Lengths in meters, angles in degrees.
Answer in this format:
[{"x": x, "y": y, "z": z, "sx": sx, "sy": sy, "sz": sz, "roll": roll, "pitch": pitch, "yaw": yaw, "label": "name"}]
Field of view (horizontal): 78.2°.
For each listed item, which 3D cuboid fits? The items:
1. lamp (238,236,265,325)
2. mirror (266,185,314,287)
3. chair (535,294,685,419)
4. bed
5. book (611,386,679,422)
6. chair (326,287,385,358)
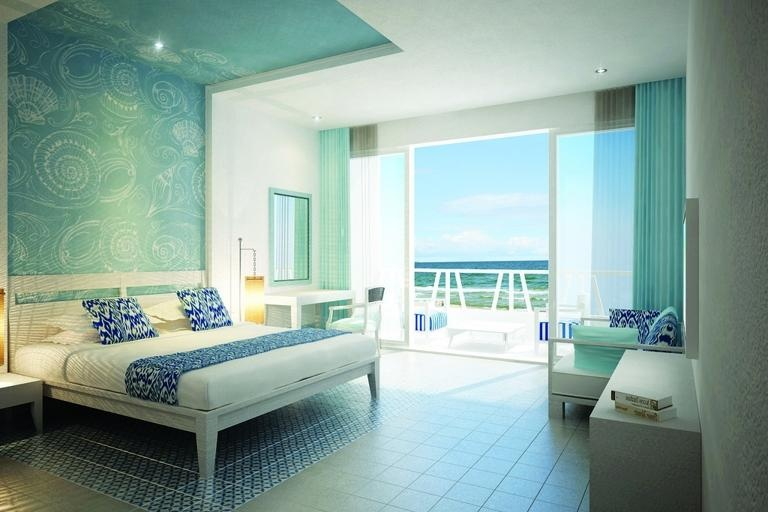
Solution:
[{"x": -1.795, "y": 0.350, "z": 6.437, "sx": 0.300, "sy": 1.151, "sz": 0.229, "roll": 0, "pitch": -5, "yaw": -27, "label": "lamp"}, {"x": -1.429, "y": -0.302, "z": 7.335, "sx": 0.155, "sy": 1.441, "sz": 0.931, "roll": 2, "pitch": 5, "yaw": 29, "label": "mirror"}, {"x": 2.342, "y": 0.994, "z": 4.835, "sx": 0.932, "sy": 0.739, "sz": 1.299, "roll": 0, "pitch": 2, "yaw": 27, "label": "chair"}, {"x": -1.838, "y": 1.046, "z": 4.017, "sx": 1.588, "sy": 0.423, "sz": 1.581, "roll": 0, "pitch": 0, "yaw": 30, "label": "bed"}, {"x": 1.618, "y": 0.855, "z": 2.915, "sx": 0.167, "sy": 0.115, "sz": 0.264, "roll": -10, "pitch": 9, "yaw": -43, "label": "book"}, {"x": -0.357, "y": 0.935, "z": 7.193, "sx": 0.963, "sy": 1.220, "sz": 0.957, "roll": 2, "pitch": -1, "yaw": 22, "label": "chair"}]
